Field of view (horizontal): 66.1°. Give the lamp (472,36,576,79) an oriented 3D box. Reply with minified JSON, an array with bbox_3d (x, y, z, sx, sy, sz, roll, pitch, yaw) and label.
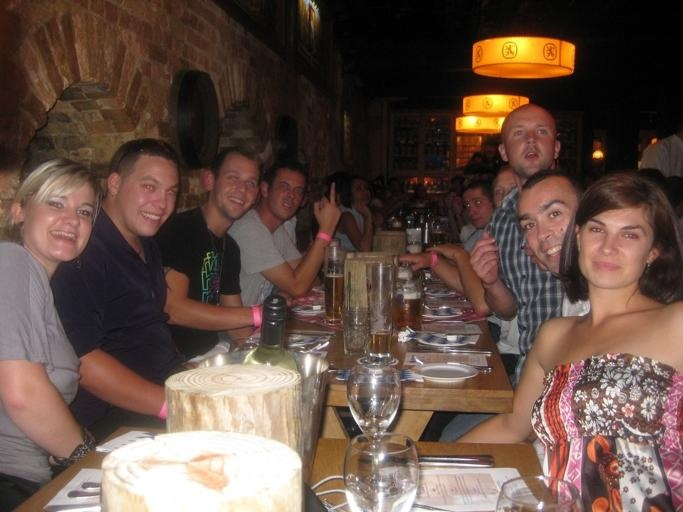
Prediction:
[{"bbox_3d":[1.885,-2.117,5.483,0.956,0.376,0.733,-2,7,-18],"label":"lamp"}]

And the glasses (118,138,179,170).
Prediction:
[{"bbox_3d":[-0.850,-0.439,2.278,0.159,0.117,0.197,-2,2,-2],"label":"glasses"}]
